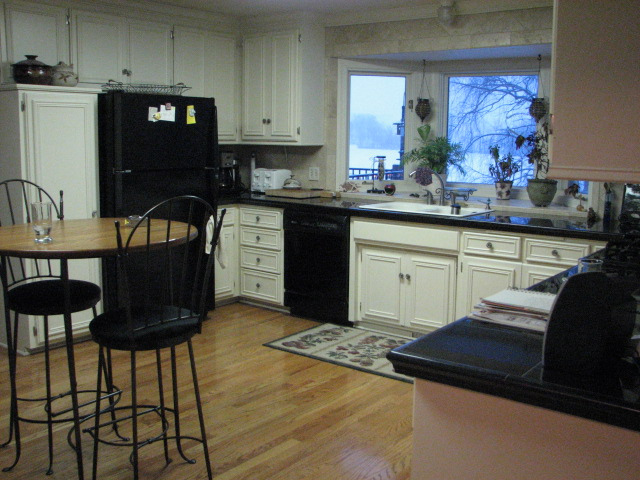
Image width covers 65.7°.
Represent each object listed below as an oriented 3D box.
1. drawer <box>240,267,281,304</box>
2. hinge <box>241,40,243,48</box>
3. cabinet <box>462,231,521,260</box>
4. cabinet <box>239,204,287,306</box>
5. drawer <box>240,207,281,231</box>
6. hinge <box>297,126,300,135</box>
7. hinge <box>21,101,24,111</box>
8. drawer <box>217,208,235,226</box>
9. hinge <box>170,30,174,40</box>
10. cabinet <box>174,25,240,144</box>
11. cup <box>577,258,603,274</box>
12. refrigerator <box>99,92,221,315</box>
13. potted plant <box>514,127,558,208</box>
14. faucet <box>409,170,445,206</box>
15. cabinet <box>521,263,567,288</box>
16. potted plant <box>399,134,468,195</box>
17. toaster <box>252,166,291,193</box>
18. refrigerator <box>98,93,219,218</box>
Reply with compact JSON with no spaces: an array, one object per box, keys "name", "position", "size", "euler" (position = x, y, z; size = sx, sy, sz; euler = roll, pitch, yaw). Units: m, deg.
[{"name":"drawer","position":[-0.576,0.435,4.801],"size":[0.484,0.284,0.298],"euler":[6,7,39]},{"name":"hinge","position":[-0.805,-2.017,5.118],"size":[0.010,0.040,0.031],"euler":[7,9,32]},{"name":"cabinet","position":[1.258,0.019,3.617],"size":[0.392,0.180,0.279],"euler":[10,15,35]},{"name":"cabinet","position":[-0.559,0.125,4.750],"size":[0.466,0.973,0.418],"euler":[10,14,40]},{"name":"drawer","position":[-0.570,-0.205,4.719],"size":[0.505,0.177,0.031],"euler":[9,15,35]},{"name":"hinge","position":[-0.210,-1.072,4.855],"size":[0.044,0.079,0.048],"euler":[0,4,-10]},{"name":"hinge","position":[-2.126,-0.958,3.548],"size":[0.020,0.065,0.008],"euler":[-3,13,-18]},{"name":"drawer","position":[-0.891,-0.215,4.770],"size":[0.042,0.170,0.222],"euler":[5,13,21]},{"name":"hinge","position":[-1.394,-1.933,4.669],"size":[0.036,0.078,0.008],"euler":[-6,14,-30]},{"name":"cabinet","position":[-1.158,-1.547,5.065],"size":[0.639,1.077,0.397],"euler":[-11,19,-43]},{"name":"cup","position":[0.858,0.081,1.575],"size":[0.038,0.035,0.048],"euler":[4,19,14]},{"name":"refrigerator","position":[-1.621,-0.278,4.428],"size":[1.032,1.906,1.204],"euler":[12,15,38]},{"name":"potted plant","position":[1.848,-0.590,4.252],"size":[0.346,0.636,0.271],"euler":[4,-5,-21]},{"name":"faucet","position":[1.053,-0.485,4.551],"size":[0.285,0.296,0.447],"euler":[9,15,35]},{"name":"cabinet","position":[1.539,0.223,3.447],"size":[0.170,0.201,0.295],"euler":[-1,3,-43]},{"name":"potted plant","position":[1.086,-0.746,4.855],"size":[0.383,0.566,0.582],"euler":[-9,15,-38]},{"name":"toaster","position":[-0.504,-0.637,5.241],"size":[0.249,0.299,0.435],"euler":[-3,4,-41]},{"name":"refrigerator","position":[-1.418,-0.722,4.252],"size":[0.907,1.058,0.719],"euler":[-9,18,-40]}]
